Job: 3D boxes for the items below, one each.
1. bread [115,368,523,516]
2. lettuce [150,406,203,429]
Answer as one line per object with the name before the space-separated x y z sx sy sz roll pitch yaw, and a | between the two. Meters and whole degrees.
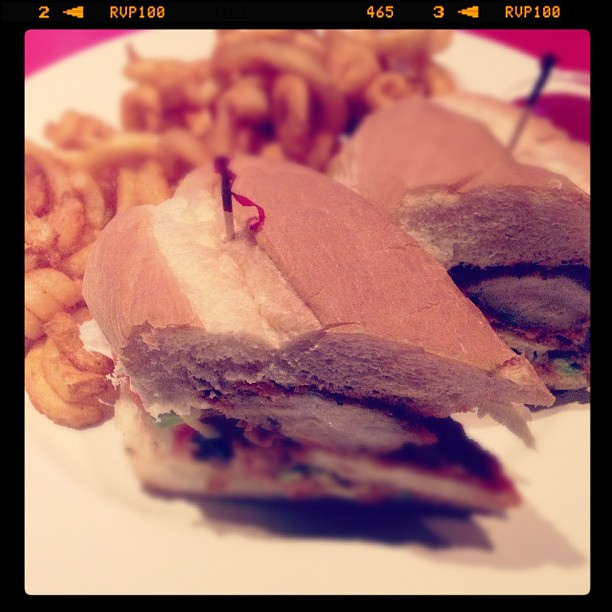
bread | 0.006 0.428 2.228 0.943 1.254 0.319 -1 80 -11
lettuce | -0.250 0.230 1.683 0.062 0.061 0.013 -16 71 28
